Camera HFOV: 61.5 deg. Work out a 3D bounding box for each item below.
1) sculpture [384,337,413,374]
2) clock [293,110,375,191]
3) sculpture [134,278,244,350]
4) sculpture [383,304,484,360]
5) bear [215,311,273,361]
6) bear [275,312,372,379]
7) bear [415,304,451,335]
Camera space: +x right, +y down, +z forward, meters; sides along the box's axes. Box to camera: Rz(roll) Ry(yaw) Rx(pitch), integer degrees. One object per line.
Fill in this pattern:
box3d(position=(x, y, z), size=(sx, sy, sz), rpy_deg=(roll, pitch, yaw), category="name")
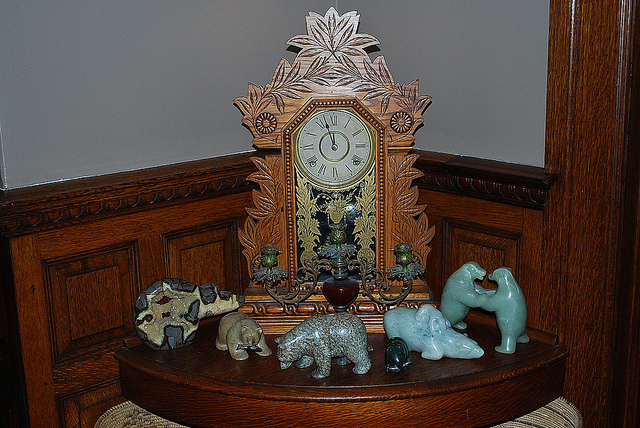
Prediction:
box3d(position=(0.240, 0.425, 1.699), size=(0.079, 0.110, 0.110), rpy_deg=(-6, 34, -1), category="sculpture")
box3d(position=(0.045, -0.219, 1.788), size=(0.276, 0.276, 0.021), rpy_deg=(-1, 24, 3), category="clock")
box3d(position=(-0.439, 0.332, 1.810), size=(0.353, 0.226, 0.101), rpy_deg=(-1, -13, -18), category="sculpture")
box3d(position=(0.352, 0.322, 1.841), size=(0.403, 0.185, 0.254), rpy_deg=(-1, 7, -10), category="sculpture")
box3d(position=(-0.253, 0.398, 1.790), size=(0.136, 0.160, 0.163), rpy_deg=(5, -16, -38), category="bear")
box3d(position=(0.011, 0.408, 1.727), size=(0.299, 0.205, 0.161), rpy_deg=(-7, 18, -10), category="bear")
box3d(position=(0.387, 0.344, 1.769), size=(0.071, 0.098, 0.171), rpy_deg=(-15, -16, 41), category="bear")
